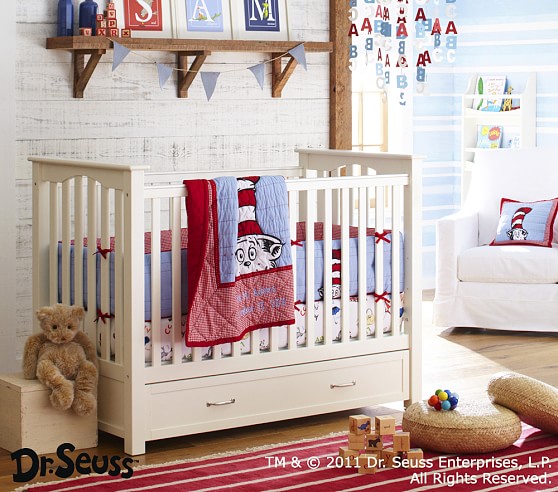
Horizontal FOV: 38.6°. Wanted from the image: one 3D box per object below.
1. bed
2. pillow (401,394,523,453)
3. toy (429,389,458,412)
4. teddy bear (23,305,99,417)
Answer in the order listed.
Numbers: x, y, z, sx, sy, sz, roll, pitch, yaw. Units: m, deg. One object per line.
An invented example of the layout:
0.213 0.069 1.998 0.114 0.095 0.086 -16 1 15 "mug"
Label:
-0.126 0.130 3.339 1.277 0.976 0.780 0 4 -6 "bed"
0.690 0.627 2.880 0.336 0.114 0.334 -4 15 -44 "pillow"
0.585 0.537 2.805 0.077 0.044 0.077 -1 1 13 "toy"
-0.762 0.392 2.832 0.261 0.347 0.344 0 12 -35 "teddy bear"
